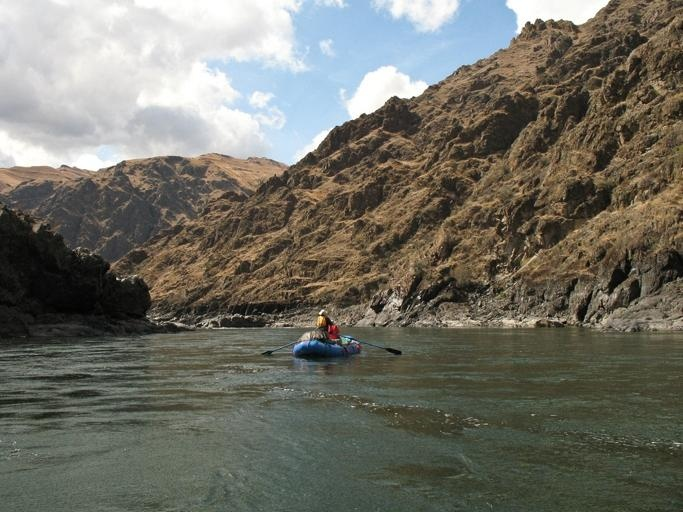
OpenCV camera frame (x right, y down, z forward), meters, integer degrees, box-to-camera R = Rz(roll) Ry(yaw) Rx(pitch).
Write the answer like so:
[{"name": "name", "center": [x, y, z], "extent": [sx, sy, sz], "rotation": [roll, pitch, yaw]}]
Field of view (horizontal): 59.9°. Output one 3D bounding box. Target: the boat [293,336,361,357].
[{"name": "boat", "center": [-0.546, 7.574, 49.018], "extent": [3.090, 1.791, 7.959], "rotation": [-5, -11, 27]}]

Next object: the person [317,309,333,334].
[{"name": "person", "center": [-1.186, 5.324, 47.370], "extent": [1.196, 1.941, 1.579], "rotation": [0, -11, -2]}]
